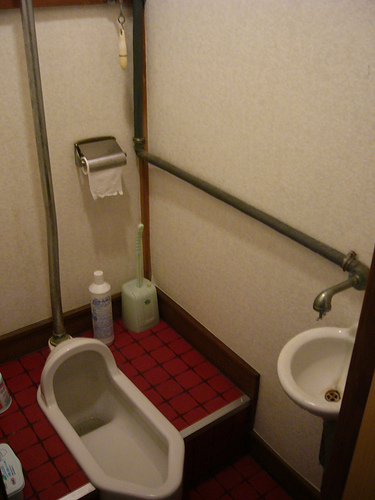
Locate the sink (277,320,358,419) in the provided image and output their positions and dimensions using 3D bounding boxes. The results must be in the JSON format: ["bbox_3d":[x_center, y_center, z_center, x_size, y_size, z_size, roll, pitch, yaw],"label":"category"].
[{"bbox_3d":[0.346,0.351,1.180,0.181,0.171,0.308,18,36,23],"label":"sink"}]

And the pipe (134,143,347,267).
[{"bbox_3d":[0.197,-0.177,1.562,0.090,0.180,0.886,2,32,-37],"label":"pipe"}]

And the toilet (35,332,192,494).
[{"bbox_3d":[-0.273,0.648,1.651,0.377,0.528,0.668,-20,40,-27],"label":"toilet"}]

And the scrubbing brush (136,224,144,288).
[{"bbox_3d":[-0.235,0.041,2.088,0.043,0.363,0.042,-3,29,-11],"label":"scrubbing brush"}]
